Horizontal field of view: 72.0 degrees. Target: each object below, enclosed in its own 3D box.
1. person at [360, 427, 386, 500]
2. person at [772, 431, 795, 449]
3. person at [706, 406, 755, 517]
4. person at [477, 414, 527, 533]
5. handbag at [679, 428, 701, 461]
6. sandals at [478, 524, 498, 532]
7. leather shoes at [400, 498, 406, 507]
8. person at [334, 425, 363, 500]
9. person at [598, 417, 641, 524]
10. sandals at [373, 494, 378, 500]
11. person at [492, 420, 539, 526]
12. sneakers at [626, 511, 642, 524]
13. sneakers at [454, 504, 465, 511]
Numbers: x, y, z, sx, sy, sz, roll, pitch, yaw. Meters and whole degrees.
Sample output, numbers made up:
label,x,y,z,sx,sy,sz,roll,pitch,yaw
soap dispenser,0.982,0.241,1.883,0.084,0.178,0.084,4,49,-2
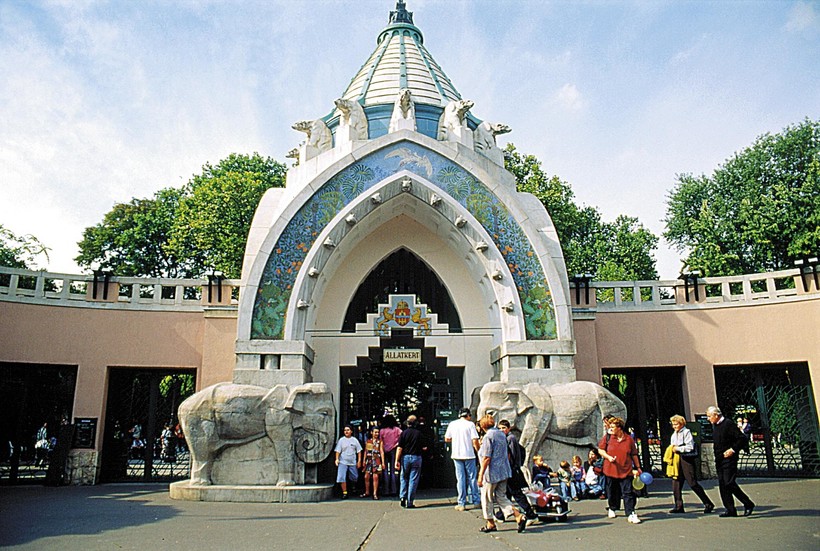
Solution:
label,x,y,z,sx,sy,sz,roll,pitch,yaw
person,-1.023,5.190,15.682,0.595,1.831,1.242,-1,-16,-6
person,12.115,5.355,18.264,0.779,0.521,0.214,-3,-16,1
person,6.838,3.931,12.048,0.703,2.209,1.138,-11,-18,28
person,1.776,3.899,11.107,1.170,2.074,0.912,-4,-10,31
handbag,5.898,3.580,11.968,0.513,0.632,0.215,9,-19,-35
sandals,1.505,4.821,10.755,0.337,0.132,0.130,4,-24,-1
leather shoes,-0.140,5.496,13.578,0.126,0.187,0.189,-2,12,2
person,-1.639,5.087,15.376,0.603,1.824,0.660,-16,-20,40
person,4.367,4.038,11.728,0.734,2.036,0.750,-7,-16,17
sandals,-0.911,5.903,14.993,0.122,0.091,0.334,0,-24,-3
person,2.242,4.279,11.995,0.882,2.228,0.746,-9,-62,14
sneakers,4.486,4.887,11.309,0.118,0.130,0.305,2,-29,3
sneakers,1.135,5.280,12.845,0.143,0.111,0.248,28,-27,-24
